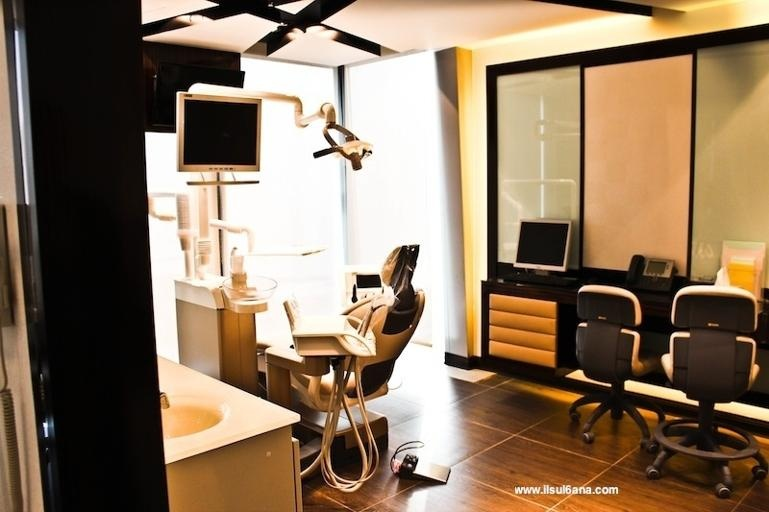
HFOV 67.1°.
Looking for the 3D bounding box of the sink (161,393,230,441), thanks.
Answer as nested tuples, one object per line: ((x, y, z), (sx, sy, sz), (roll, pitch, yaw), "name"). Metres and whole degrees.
((-0.830, 0.700, 2.558), (0.343, 0.120, 0.186), (0, 9, 9), "sink")

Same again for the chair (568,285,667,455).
((1.712, 0.730, 4.251), (0.677, 1.074, 0.687), (1, 7, 19), "chair")

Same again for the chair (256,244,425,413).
((-0.300, 0.499, 3.872), (1.134, 1.164, 0.911), (6, 13, 29), "chair")

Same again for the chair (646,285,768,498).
((2.040, 0.761, 3.604), (0.662, 1.181, 0.742), (3, 10, 27), "chair")

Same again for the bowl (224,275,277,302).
((-0.621, 0.145, 2.663), (0.231, 0.111, 0.186), (-4, 9, -16), "bowl")

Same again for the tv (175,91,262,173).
((-0.876, -0.659, 3.024), (0.445, 0.369, 0.044), (-6, 14, -39), "tv")

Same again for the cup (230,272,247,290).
((-0.655, 0.107, 2.610), (0.069, 0.076, 0.072), (0, -1, 0), "cup")

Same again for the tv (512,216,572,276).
((1.409, -0.092, 5.089), (0.092, 0.447, 0.496), (6, 1, -43), "tv")
